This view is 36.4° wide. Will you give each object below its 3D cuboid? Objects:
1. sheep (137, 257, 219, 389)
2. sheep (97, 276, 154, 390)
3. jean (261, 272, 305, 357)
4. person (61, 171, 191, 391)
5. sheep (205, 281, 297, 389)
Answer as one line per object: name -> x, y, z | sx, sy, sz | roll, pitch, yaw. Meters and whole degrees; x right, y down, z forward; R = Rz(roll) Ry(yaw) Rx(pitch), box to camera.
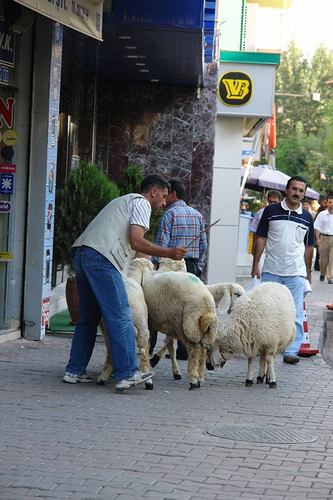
sheep -> 0.024, 0.716, 5.076 | 0.684, 1.131, 1.498 | 12, -10, -31
sheep -> -0.443, 0.757, 5.198 | 0.537, 1.029, 1.753 | 11, -3, -7
jean -> 1.442, 0.827, 6.564 | 0.563, 0.977, 0.553 | 2, 12, 8
person -> -0.429, 0.287, 4.723 | 0.959, 1.972, 1.371 | 4, -3, -10
sheep -> 0.891, 0.891, 5.139 | 0.634, 1.021, 1.378 | 0, 7, 43
